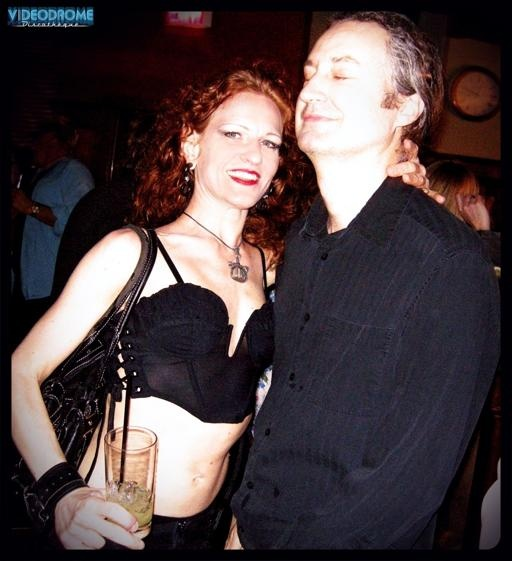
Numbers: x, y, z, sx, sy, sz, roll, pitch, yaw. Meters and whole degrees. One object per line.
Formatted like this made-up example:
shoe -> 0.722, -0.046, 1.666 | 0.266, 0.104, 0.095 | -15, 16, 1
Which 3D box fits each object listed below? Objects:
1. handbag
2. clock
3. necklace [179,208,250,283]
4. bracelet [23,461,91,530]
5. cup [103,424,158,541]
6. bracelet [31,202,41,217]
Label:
handbag -> -0.673, 0.298, 1.832 | 0.219, 0.848, 0.498 | 19, -12, 23
clock -> 2.559, -2.135, 5.909 | 0.622, 0.568, 0.610 | -8, 31, 18
necklace -> -0.182, -0.146, 2.105 | 0.110, 0.274, 0.273 | -18, 63, -41
bracelet -> -0.660, 0.701, 1.705 | 0.171, 0.222, 0.186 | 45, 52, -2
cup -> -0.403, 0.655, 1.661 | 0.171, 0.322, 0.187 | 1, 22, 0
bracelet -> -1.680, -0.544, 3.939 | 0.064, 0.094, 0.085 | 1, 5, -17
